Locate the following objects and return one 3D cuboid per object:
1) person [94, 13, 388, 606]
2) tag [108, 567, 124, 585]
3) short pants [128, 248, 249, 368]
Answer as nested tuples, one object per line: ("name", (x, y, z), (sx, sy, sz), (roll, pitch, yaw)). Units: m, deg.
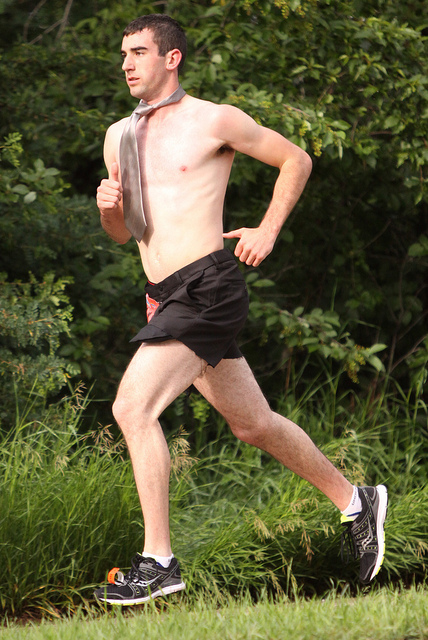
("person", (0.083, -0.098, 2.310), (1.021, 2.088, 0.516), (5, -5, -29))
("tag", (-0.309, 0.815, 1.962), (0.059, 0.053, 0.043), (2, -4, 10))
("short pants", (-0.089, -0.027, 2.309), (0.453, 0.428, 0.499), (-4, -10, 2))
